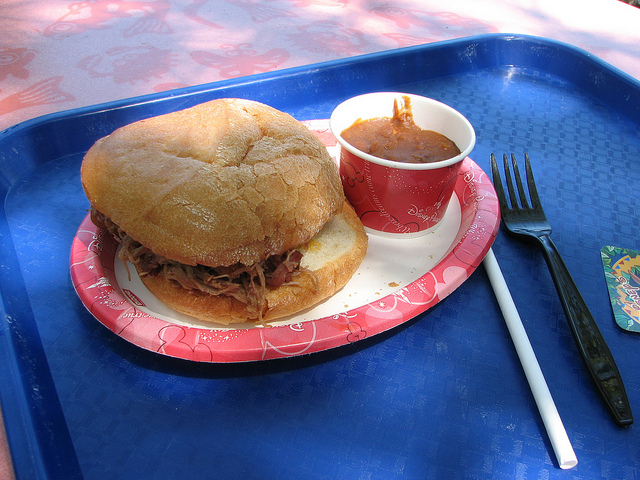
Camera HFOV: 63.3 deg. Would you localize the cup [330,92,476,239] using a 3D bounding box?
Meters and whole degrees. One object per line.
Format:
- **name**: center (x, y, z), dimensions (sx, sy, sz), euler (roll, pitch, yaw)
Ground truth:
- **cup**: center (0.292, -0.247, 1.896), dimensions (0.450, 0.350, 0.460), euler (-2, 39, 1)
